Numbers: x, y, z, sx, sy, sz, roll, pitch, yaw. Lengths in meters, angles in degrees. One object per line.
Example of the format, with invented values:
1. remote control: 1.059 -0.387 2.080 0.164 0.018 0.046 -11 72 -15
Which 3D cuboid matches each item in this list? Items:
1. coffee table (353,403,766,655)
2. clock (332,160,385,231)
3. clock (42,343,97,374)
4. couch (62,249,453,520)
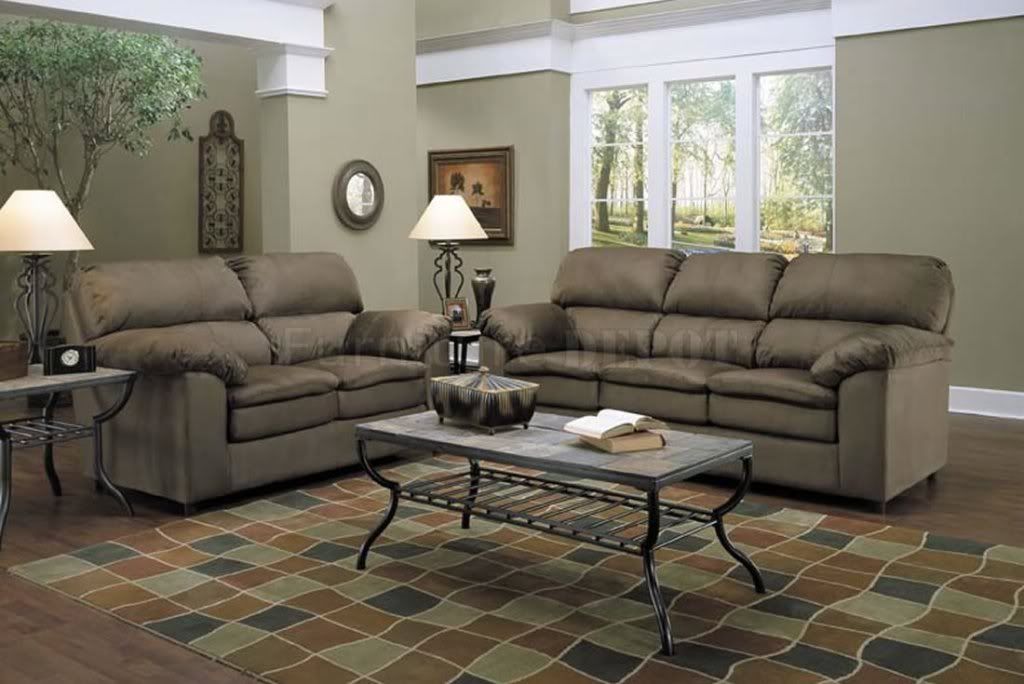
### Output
1. coffee table: 0.328 0.598 3.245 1.899 0.624 0.963 1 3 39
2. clock: -1.208 -1.202 6.001 0.676 0.541 0.055 3 11 41
3. clock: -2.292 0.076 3.787 0.274 0.150 0.152 -2 8 -33
4. couch: -1.699 0.161 4.769 1.691 1.527 2.909 0 2 38
